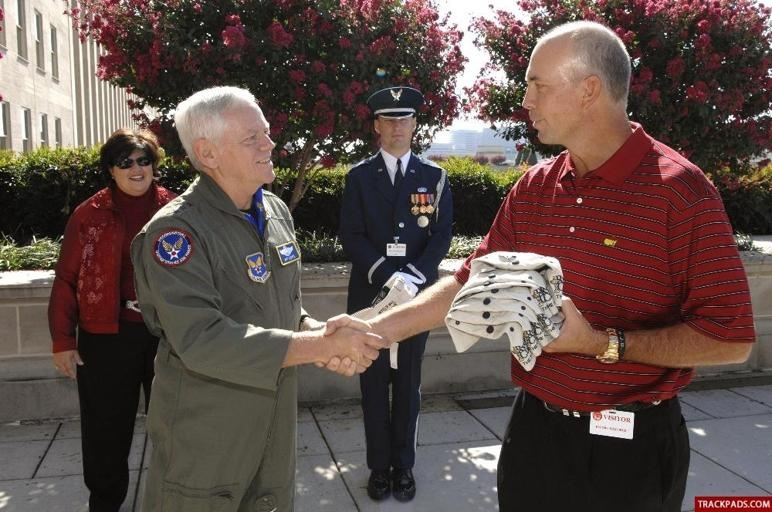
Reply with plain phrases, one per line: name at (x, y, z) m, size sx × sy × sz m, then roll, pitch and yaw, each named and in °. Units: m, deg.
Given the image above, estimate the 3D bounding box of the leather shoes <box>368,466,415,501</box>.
leather shoes at (0.043, 1.764, 5.392) m, size 0.227 × 0.112 × 0.316 m, roll 1°, pitch 1°, yaw 0°

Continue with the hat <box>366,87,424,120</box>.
hat at (0.057, -1.343, 6.118) m, size 0.538 × 0.226 × 0.492 m, roll -9°, pitch 9°, yaw -38°

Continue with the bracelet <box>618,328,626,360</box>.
bracelet at (1.215, 0.455, 3.592) m, size 0.042 × 0.145 × 0.053 m, roll 1°, pitch 7°, yaw 20°
